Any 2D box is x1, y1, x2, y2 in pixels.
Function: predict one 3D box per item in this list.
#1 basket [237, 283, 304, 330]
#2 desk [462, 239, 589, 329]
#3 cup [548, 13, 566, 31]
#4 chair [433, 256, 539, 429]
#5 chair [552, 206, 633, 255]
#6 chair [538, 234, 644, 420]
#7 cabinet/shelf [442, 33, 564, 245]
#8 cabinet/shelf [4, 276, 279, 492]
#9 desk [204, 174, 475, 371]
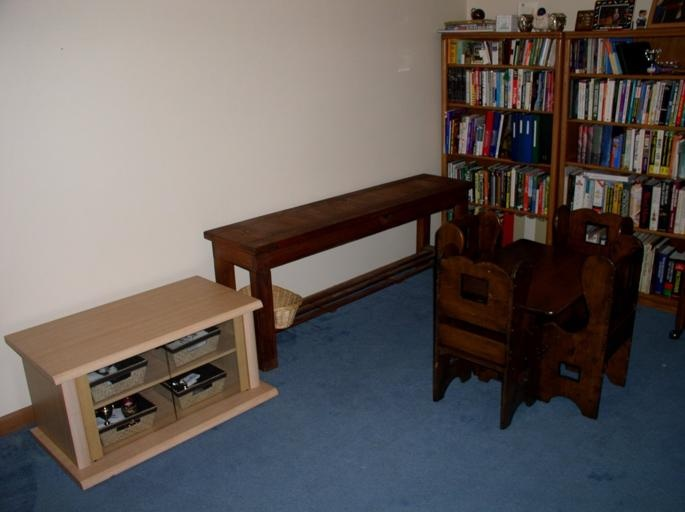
[{"bbox_3d":[-0.478,0.395,3.760,0.315,0.150,0.329,4,27,6],"label":"basket"},{"bbox_3d":[1.168,0.280,3.156,0.482,0.247,0.712,13,25,43],"label":"desk"},{"bbox_3d":[1.704,-1.853,4.162,0.117,0.132,0.144,7,23,24],"label":"cup"},{"bbox_3d":[0.802,0.446,3.066,0.547,0.980,0.332,14,26,36],"label":"chair"},{"bbox_3d":[1.703,-0.175,3.538,0.294,0.269,0.214,16,29,38],"label":"chair"},{"bbox_3d":[1.456,0.448,3.078,0.703,0.955,0.569,-24,32,-36],"label":"chair"},{"bbox_3d":[1.447,-0.930,4.691,1.025,2.059,0.315,10,35,30],"label":"cabinet/shelf"},{"bbox_3d":[-1.225,0.625,3.106,0.951,0.740,1.457,19,31,39],"label":"cabinet/shelf"},{"bbox_3d":[0.121,0.000,4.280,2.406,0.847,0.612,-19,25,-41],"label":"desk"}]
